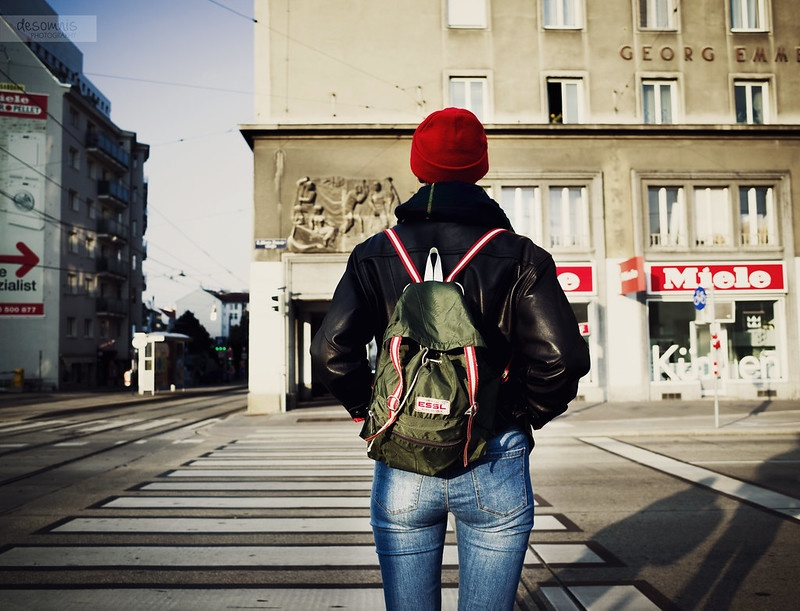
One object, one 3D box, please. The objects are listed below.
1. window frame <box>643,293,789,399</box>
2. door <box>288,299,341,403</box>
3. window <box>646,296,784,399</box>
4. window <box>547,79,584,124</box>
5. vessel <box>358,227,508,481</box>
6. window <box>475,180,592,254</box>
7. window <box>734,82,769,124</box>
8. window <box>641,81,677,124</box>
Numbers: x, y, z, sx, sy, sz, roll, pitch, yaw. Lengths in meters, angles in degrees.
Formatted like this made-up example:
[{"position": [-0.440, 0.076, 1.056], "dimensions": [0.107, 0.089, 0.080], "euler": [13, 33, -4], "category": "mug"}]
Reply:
[{"position": [11.657, 1.422, 38.071], "dimensions": [5.212, 4.222, 0.125], "euler": [-2, -1, -3], "category": "window frame"}, {"position": [-3.354, 1.786, 40.458], "dimensions": [1.667, 3.358, 1.674], "euler": [-3, -26, 13], "category": "door"}, {"position": [11.653, 1.533, 38.036], "dimensions": [4.937, 3.825, 0.158], "euler": [-2, 13, 16], "category": "window"}, {"position": [6.143, -7.679, 38.492], "dimensions": [1.622, 2.110, 0.207], "euler": [0, -2, -6], "category": "window"}, {"position": [0.737, 0.972, 22.165], "dimensions": [2.991, 5.238, 2.606], "euler": [3, 19, 7], "category": "vessel"}, {"position": [5.267, -3.198, 38.404], "dimensions": [3.815, 2.841, 0.424], "euler": [-9, -11, -44], "category": "window"}, {"position": [13.262, -7.723, 38.799], "dimensions": [1.313, 1.650, 0.221], "euler": [6, 30, 31], "category": "window"}, {"position": [9.773, -7.666, 38.568], "dimensions": [1.511, 2.192, 0.223], "euler": [1, -2, -2], "category": "window"}]
